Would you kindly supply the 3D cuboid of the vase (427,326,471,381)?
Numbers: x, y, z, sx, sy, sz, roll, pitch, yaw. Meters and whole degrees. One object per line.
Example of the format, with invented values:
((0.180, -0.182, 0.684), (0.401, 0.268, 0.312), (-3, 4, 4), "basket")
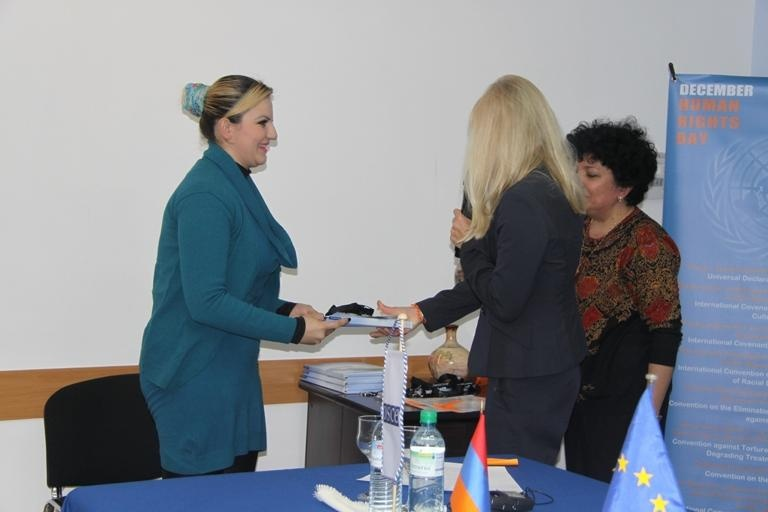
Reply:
((0.347, 0.521, 3.824), (0.252, 0.329, 0.258), (3, -11, -3), "vase")

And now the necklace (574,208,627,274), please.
((1.001, -0.066, 3.290), (0.182, 0.323, 0.245), (19, -16, -32), "necklace")

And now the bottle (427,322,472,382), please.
((0.342, 0.498, 3.765), (0.252, 0.329, 0.258), (2, -11, 0), "bottle")
